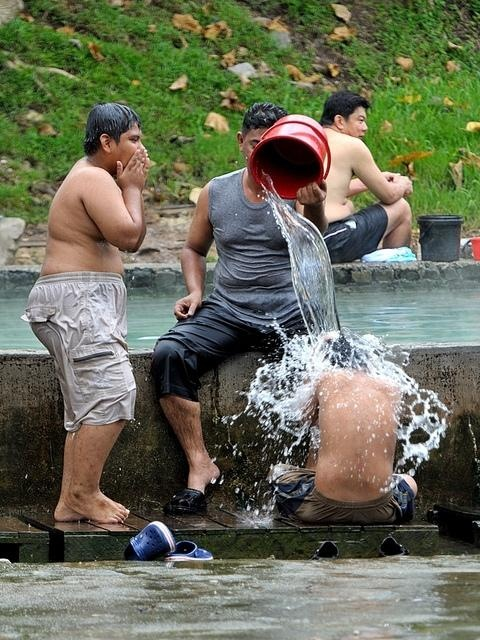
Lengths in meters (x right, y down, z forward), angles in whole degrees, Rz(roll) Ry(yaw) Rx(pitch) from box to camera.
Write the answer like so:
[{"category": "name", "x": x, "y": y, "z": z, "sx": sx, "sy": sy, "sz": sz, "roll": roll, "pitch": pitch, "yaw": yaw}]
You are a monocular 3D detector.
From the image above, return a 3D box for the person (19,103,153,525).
[{"category": "person", "x": -0.584, "y": -0.037, "z": 3.819, "sx": 0.448, "sy": 1.133, "sz": 0.272, "roll": 1, "pitch": -1, "yaw": 6}]

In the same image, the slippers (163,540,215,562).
[{"category": "slippers", "x": -0.167, "y": 0.765, "z": 3.358, "sx": 0.127, "sy": 0.045, "sz": 0.063, "roll": -4, "pitch": 10, "yaw": -25}]

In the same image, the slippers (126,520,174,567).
[{"category": "slippers", "x": -0.294, "y": 0.730, "z": 3.357, "sx": 0.167, "sy": 0.089, "sz": 0.127, "roll": 1, "pitch": -1, "yaw": -7}]

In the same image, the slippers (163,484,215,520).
[{"category": "slippers", "x": -0.194, "y": 0.719, "z": 4.060, "sx": 0.070, "sy": 0.068, "sz": 0.189, "roll": 0, "pitch": -4, "yaw": 34}]

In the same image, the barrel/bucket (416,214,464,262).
[{"category": "barrel/bucket", "x": 1.502, "y": -0.603, "z": 7.674, "sx": 0.370, "sy": 0.333, "sz": 0.377, "roll": 0, "pitch": 6, "yaw": 0}]
